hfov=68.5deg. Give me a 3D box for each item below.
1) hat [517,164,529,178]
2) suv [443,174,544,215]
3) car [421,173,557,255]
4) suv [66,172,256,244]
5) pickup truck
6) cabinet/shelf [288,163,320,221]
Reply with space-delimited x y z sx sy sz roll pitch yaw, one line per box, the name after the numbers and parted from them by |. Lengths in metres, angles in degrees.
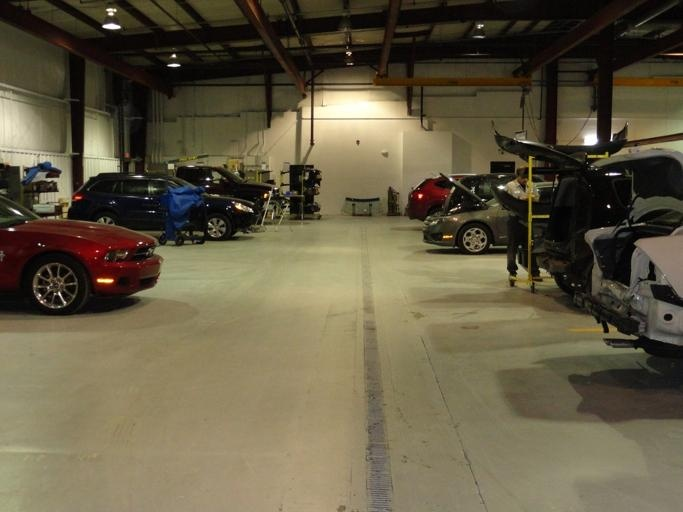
3.156 -1.484 8.823 0.216 0.207 0.159 6 4 -21 | hat
4.020 -1.631 13.144 2.660 1.372 1.453 -2 5 -1 | suv
3.461 -1.081 12.958 3.447 1.553 1.853 -2 5 0 | car
-5.249 -1.523 15.171 4.884 1.735 2.263 0 4 -5 | suv
-4.608 -2.610 20.430 4.052 1.751 1.964 0 5 -1 | pickup truck
-1.819 -3.121 24.445 1.497 2.687 3.824 0 8 -5 | cabinet/shelf
